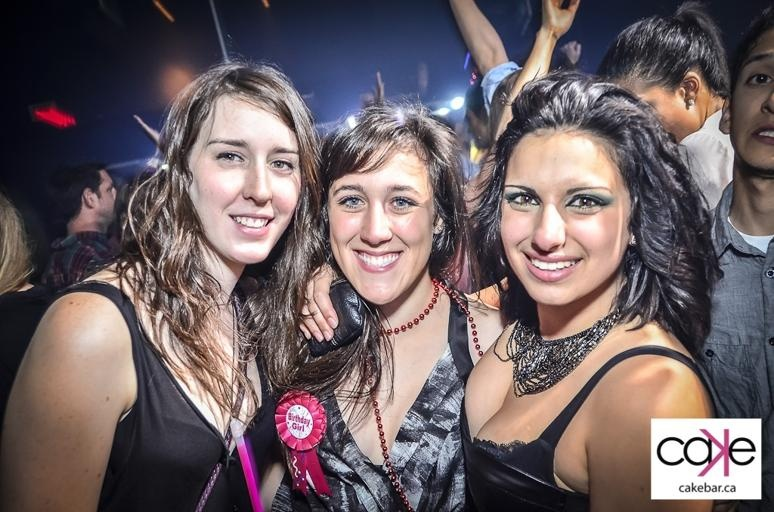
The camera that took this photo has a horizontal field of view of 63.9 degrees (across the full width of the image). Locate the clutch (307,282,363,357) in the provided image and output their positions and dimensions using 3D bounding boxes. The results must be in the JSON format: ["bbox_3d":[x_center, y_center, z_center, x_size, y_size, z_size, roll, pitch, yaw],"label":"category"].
[{"bbox_3d":[-0.194,0.284,3.032,0.256,0.298,0.393,2,18,5],"label":"clutch"}]
